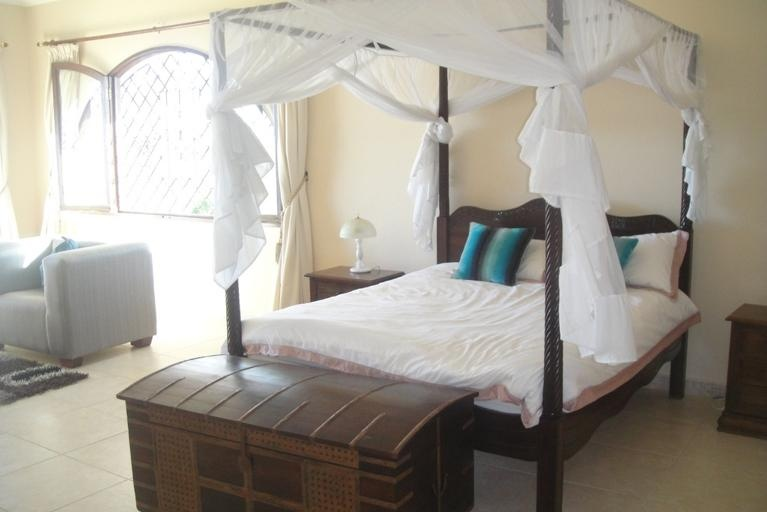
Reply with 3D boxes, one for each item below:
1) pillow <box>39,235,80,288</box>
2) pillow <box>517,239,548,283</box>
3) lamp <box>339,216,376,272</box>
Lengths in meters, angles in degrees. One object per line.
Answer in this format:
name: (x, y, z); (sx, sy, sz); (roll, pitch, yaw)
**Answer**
pillow: (-3.254, 0.050, 6.006); (0.149, 0.502, 0.435); (22, 2, 13)
pillow: (1.252, 0.040, 5.162); (0.100, 0.315, 0.334); (24, -14, -30)
lamp: (-0.265, -0.106, 5.935); (0.351, 0.504, 0.370); (5, 8, 40)
